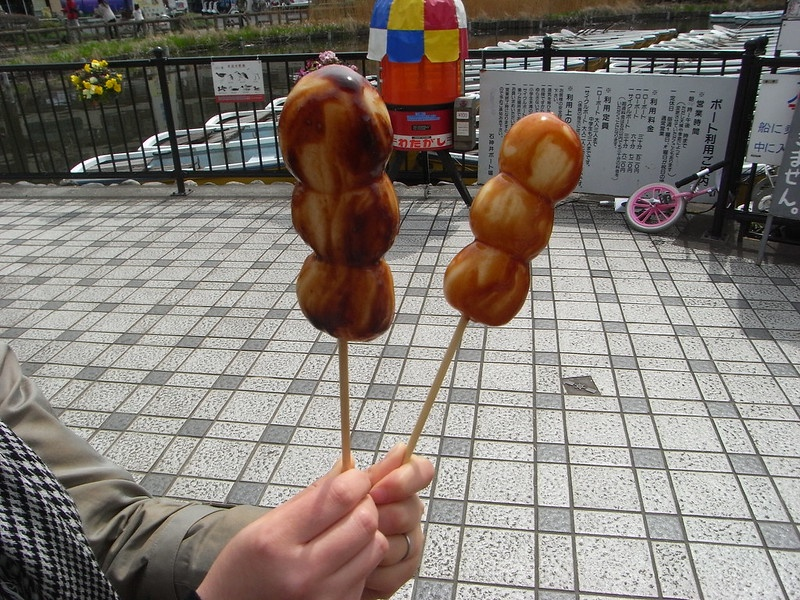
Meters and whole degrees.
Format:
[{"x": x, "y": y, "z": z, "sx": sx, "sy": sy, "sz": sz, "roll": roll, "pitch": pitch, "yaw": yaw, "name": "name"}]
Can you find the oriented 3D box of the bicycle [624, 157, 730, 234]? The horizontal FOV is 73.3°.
[{"x": 2.703, "y": -1.044, "z": 5.256, "sx": 0.801, "sy": 0.704, "sz": 0.546, "roll": 3, "pitch": 29, "yaw": 7, "name": "bicycle"}]
